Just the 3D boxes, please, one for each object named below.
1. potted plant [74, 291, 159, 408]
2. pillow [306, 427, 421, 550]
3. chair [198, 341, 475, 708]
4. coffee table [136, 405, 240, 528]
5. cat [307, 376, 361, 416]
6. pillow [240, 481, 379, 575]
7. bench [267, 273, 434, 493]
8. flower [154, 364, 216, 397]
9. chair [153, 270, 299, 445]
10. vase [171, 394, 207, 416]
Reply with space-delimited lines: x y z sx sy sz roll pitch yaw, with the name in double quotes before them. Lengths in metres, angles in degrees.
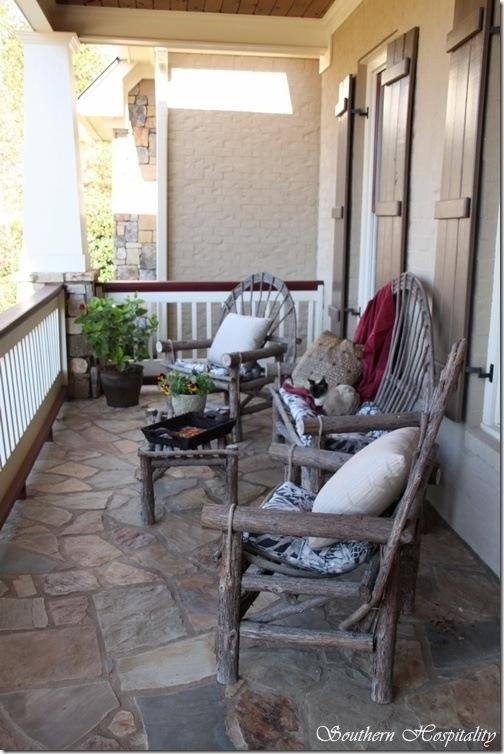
"potted plant" -1.064 -0.206 4.305 0.592 0.880 0.533 -1 7 -10
"pillow" 0.280 0.246 1.338 0.253 0.210 0.260 3 8 18
"chair" 0.234 0.345 1.524 0.558 0.853 0.626 3 9 21
"coffee table" -0.280 0.421 2.593 0.510 0.390 0.542 -5 1 12
"cat" 0.401 0.088 2.541 0.206 0.210 0.162 -18 8 19
"pillow" 0.144 0.436 1.416 0.268 0.081 0.293 2 28 20
"bench" 0.449 0.093 2.468 0.677 1.040 0.752 1 15 9
"flower" -0.344 0.031 2.938 0.220 0.139 0.228 -1 3 6
"chair" -0.197 -0.206 3.760 0.718 1.072 0.859 -4 10 -41
"vase" -0.348 0.135 2.844 0.129 0.106 0.129 1 7 11
